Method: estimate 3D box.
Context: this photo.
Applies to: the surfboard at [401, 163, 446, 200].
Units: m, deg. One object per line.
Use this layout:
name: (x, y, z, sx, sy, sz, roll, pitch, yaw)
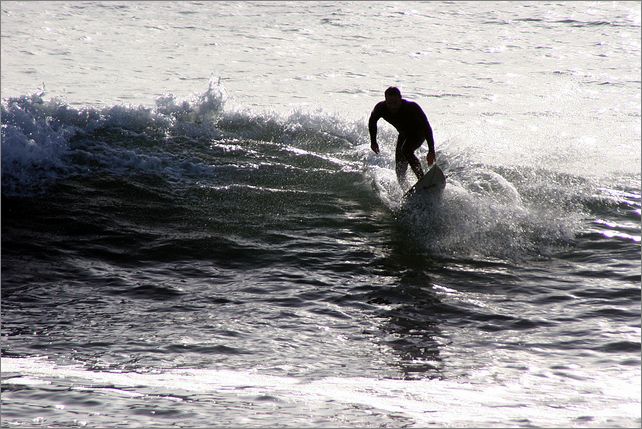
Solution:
surfboard: (3.099, -0.884, 25.733, 0.639, 1.589, 0.183, 2, 64, -6)
